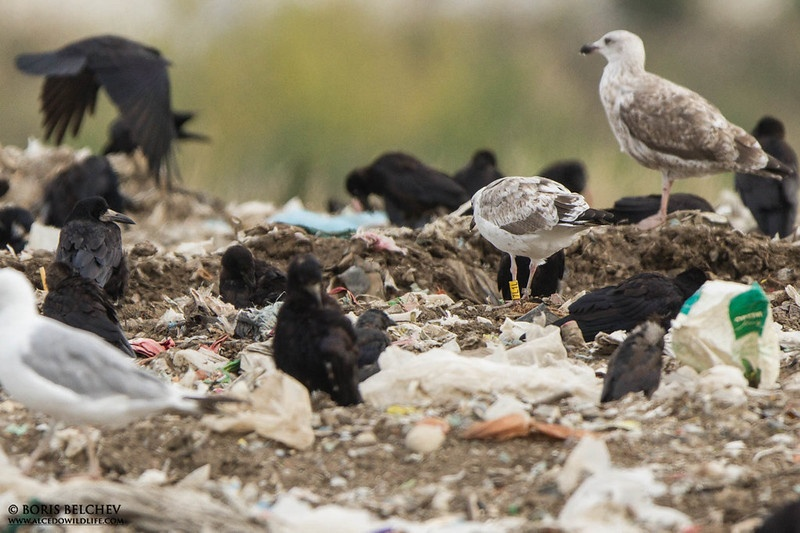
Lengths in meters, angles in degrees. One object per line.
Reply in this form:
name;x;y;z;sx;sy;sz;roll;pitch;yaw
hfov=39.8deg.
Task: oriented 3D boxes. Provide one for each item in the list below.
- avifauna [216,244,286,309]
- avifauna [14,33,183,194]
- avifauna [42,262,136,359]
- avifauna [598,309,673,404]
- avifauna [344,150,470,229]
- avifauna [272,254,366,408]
avifauna;-1.402;0.119;10.349;0.719;0.457;0.466;9;-10;-3
avifauna;-3.043;-1.652;11.412;1.564;1.460;0.819;5;12;-12
avifauna;-2.628;0.332;9.396;0.877;0.873;0.441;6;26;-2
avifauna;1.887;0.768;8.812;0.515;0.642;0.307;7;12;-3
avifauna;0.115;-0.973;13.936;1.693;0.879;0.655;17;15;42
avifauna;-0.603;0.516;8.632;0.718;1.133;0.249;11;12;16
